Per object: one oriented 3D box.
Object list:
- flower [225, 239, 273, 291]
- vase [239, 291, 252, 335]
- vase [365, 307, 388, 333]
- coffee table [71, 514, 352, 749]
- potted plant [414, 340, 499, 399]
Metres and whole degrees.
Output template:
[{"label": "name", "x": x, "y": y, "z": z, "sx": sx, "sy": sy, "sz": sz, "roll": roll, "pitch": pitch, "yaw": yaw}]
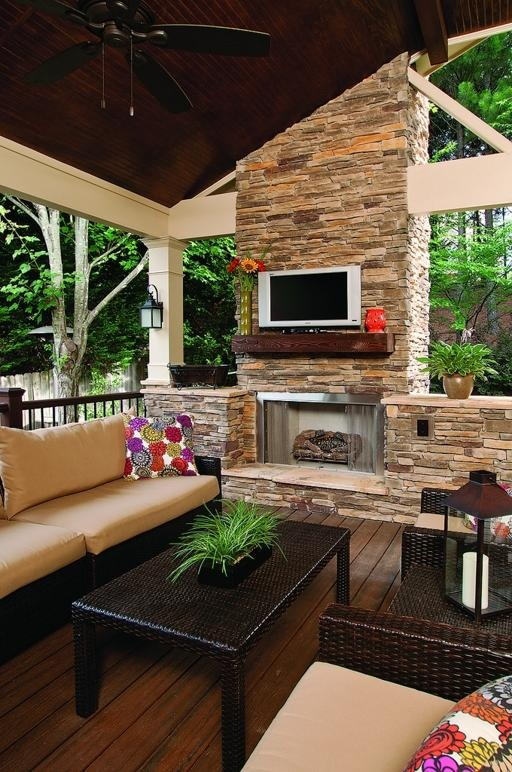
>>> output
[{"label": "flower", "x": -0.091, "y": -1.018, "z": 4.848, "sx": 0.373, "sy": 0.378, "sz": 0.245, "roll": 2, "pitch": 4, "yaw": 33}, {"label": "vase", "x": -0.085, "y": -0.636, "z": 4.902, "sx": 0.099, "sy": 0.375, "sz": 0.155, "roll": 0, "pitch": 3, "yaw": 3}, {"label": "vase", "x": 0.903, "y": -0.503, "z": 4.337, "sx": 0.195, "sy": 0.183, "sz": 0.135, "roll": 1, "pitch": 4, "yaw": 32}, {"label": "coffee table", "x": -0.422, "y": 0.720, "z": 2.214, "sx": 0.823, "sy": 0.463, "sz": 1.364, "roll": 2, "pitch": 4, "yaw": 29}, {"label": "potted plant", "x": 1.448, "y": -0.137, "z": 4.065, "sx": 0.612, "sy": 0.415, "sz": 0.597, "roll": 2, "pitch": -2, "yaw": -19}]
